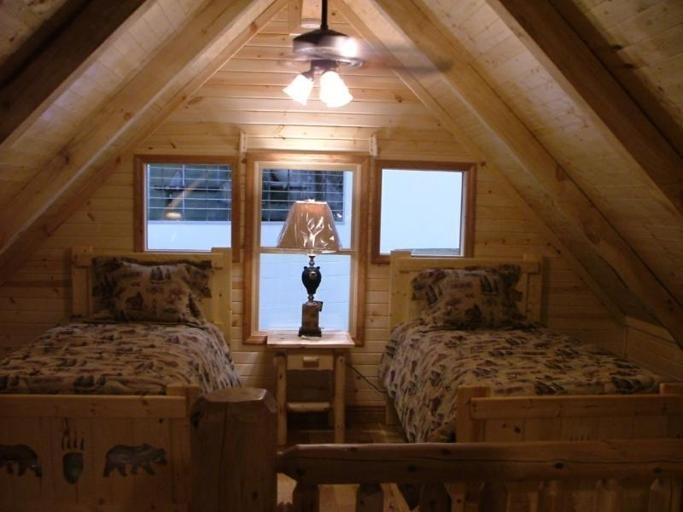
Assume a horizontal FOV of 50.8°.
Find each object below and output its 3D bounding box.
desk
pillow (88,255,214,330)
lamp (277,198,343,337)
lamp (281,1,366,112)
[{"bbox_3d":[-0.246,0.910,4.888,0.714,0.519,0.580,-2,-15,6],"label":"desk"},{"bbox_3d":[-1.230,0.234,4.515,0.646,0.296,0.108,2,-19,1],"label":"pillow"},{"bbox_3d":[-0.221,0.075,4.796,0.412,0.933,0.371,2,-1,-1],"label":"lamp"},{"bbox_3d":[-0.096,-1.129,4.043,0.423,0.456,0.710,1,-1,-4],"label":"lamp"}]
